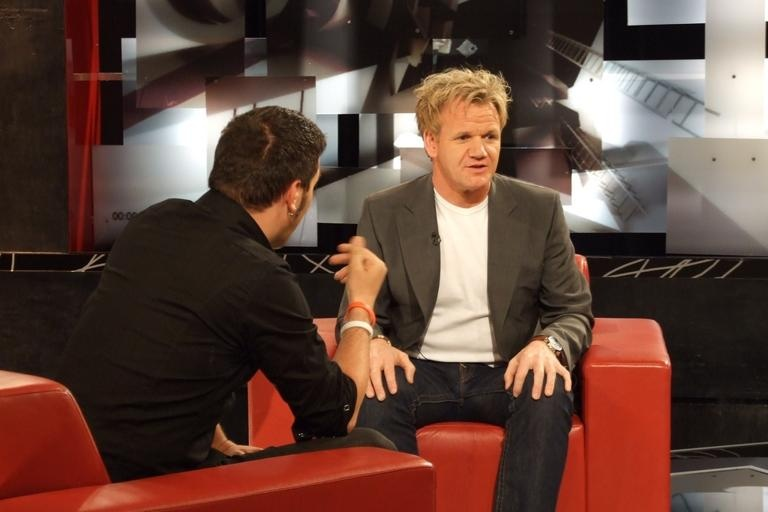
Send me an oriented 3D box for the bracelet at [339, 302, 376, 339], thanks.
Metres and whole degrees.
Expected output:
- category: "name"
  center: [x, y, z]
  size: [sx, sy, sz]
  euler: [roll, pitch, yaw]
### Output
- category: "bracelet"
  center: [-0.076, 0.200, 2.201]
  size: [0.092, 0.112, 0.047]
  euler: [3, 1, 0]
